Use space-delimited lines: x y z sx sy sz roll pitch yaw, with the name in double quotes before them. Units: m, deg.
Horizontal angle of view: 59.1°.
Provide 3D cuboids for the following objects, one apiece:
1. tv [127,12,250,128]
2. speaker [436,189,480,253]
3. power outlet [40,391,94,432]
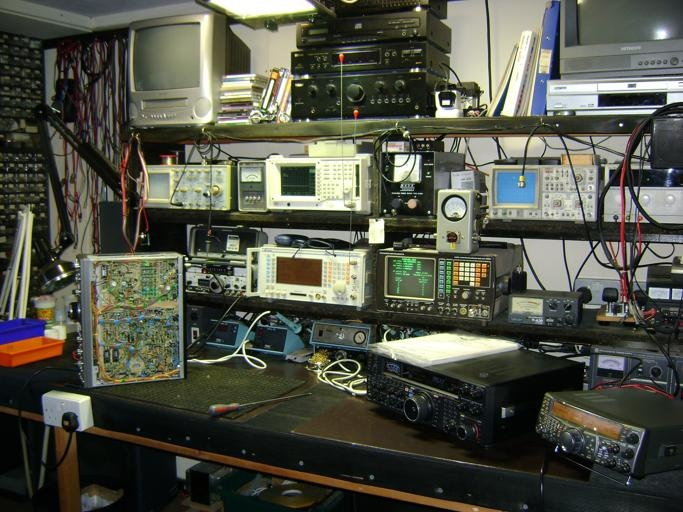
"tv" -0.809 -1.058 3.513 0.773 0.574 0.363 6 10 24
"speaker" 0.526 -0.159 2.780 0.160 0.294 0.062 4 6 27
"power outlet" -1.185 0.668 2.615 0.216 0.119 0.067 6 12 28
